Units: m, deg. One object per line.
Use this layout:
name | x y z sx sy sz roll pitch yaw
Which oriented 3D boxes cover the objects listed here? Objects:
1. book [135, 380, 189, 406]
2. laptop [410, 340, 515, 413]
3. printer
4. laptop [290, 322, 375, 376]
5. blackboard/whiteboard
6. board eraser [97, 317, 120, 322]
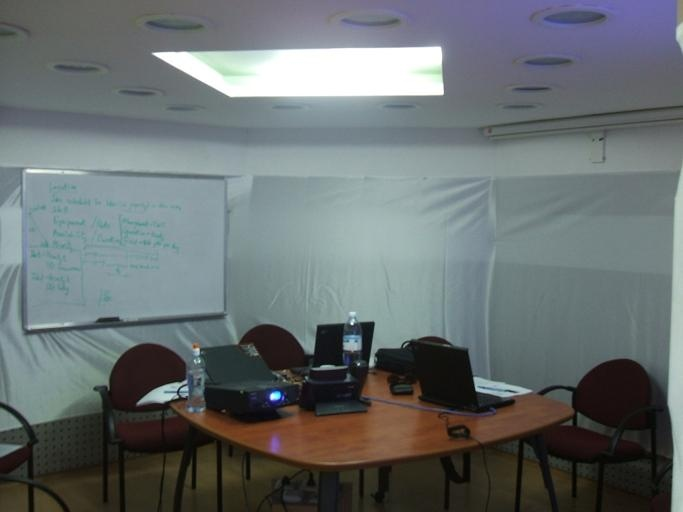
book | -1.132 0.870 3.407 0.323 0.075 0.324 -8 -1 11
laptop | 0.707 0.626 3.167 0.448 0.353 0.430 -2 4 -38
printer | -0.040 0.757 3.041 0.352 0.238 0.258 -1 7 -19
laptop | -0.038 0.577 3.711 0.393 0.331 0.299 0 2 -23
blackboard/whiteboard | -1.814 -0.048 4.410 1.471 1.061 0.058 0 1 -32
board eraser | -1.876 0.513 4.394 0.173 0.051 0.012 -4 8 -25
